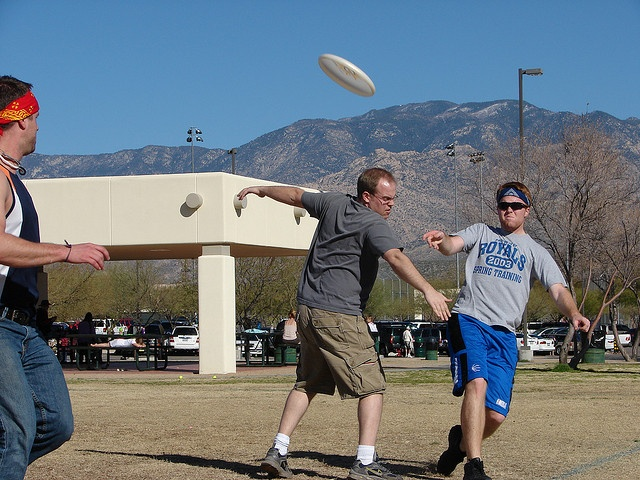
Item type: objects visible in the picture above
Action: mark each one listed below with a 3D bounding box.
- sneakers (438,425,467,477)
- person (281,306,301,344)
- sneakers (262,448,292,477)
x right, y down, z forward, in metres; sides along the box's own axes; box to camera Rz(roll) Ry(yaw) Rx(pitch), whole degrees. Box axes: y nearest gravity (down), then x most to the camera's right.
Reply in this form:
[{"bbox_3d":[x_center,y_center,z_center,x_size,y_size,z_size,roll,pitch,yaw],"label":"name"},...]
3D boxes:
[{"bbox_3d":[1.436,2.209,10.957,0.219,0.612,0.259,28,-52,-4],"label":"sneakers"},{"bbox_3d":[-0.761,2.458,29.255,0.543,0.966,0.663,-4,-7,35],"label":"person"},{"bbox_3d":[-0.442,2.267,10.637,0.172,0.205,0.413,1,-26,26],"label":"sneakers"}]
